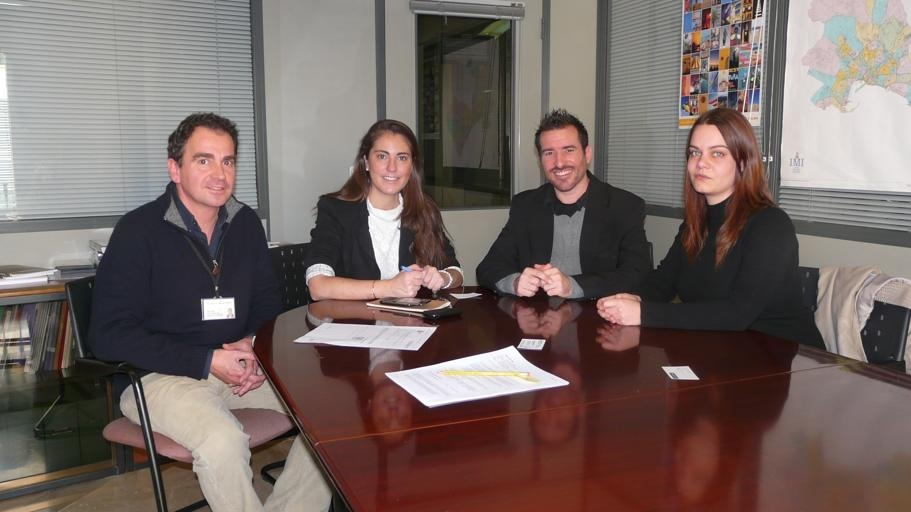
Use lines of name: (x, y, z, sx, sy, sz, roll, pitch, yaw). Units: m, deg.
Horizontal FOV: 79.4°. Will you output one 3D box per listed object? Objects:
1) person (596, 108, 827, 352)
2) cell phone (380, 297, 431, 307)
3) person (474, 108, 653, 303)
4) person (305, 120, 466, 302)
person: (1.425, -0.133, 3.088, 1.370, 1.268, 0.888, -10, 14, -16)
cell phone: (-0.278, 0.241, 2.928, 0.177, 0.017, 0.101, 2, 10, 29)
person: (0.679, -0.224, 3.612, 1.175, 1.379, 1.006, 1, 14, 19)
person: (-0.443, -0.171, 3.428, 1.008, 1.263, 0.804, -2, 12, -28)
